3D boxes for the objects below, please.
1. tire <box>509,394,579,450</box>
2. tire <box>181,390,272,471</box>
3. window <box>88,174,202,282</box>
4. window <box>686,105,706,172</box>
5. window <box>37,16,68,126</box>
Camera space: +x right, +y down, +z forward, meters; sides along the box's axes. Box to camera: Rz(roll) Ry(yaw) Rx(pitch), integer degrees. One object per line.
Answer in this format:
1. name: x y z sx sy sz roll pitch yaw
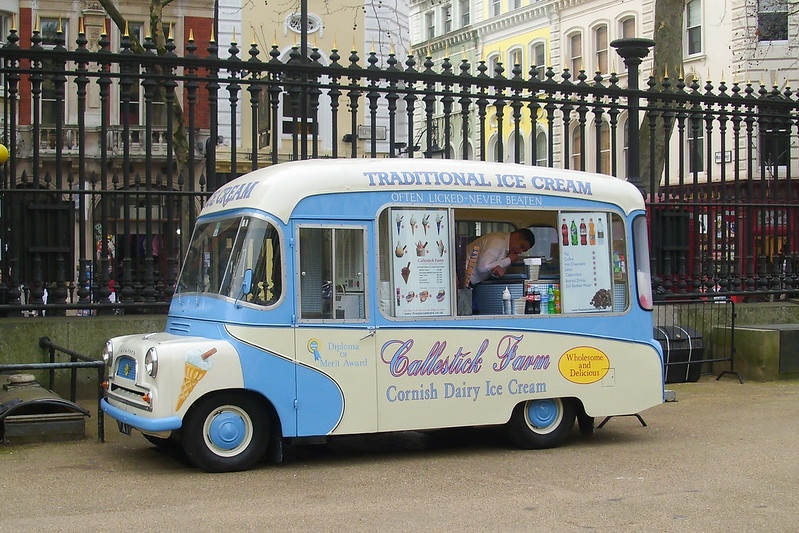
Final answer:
1. tire: 1.861 2.060 14.338 0.564 0.652 0.217 -7 -10 -11
2. tire: -2.149 1.986 13.180 0.684 0.748 0.263 -27 2 -13
3. window: -4.258 -0.787 17.547 0.113 1.595 1.751 -15 0 7
4. window: 5.740 -2.490 21.044 0.503 1.523 0.109 -6 11 -15
5. window: -9.532 -5.228 29.598 0.844 0.926 4.066 -4 -38 -22
